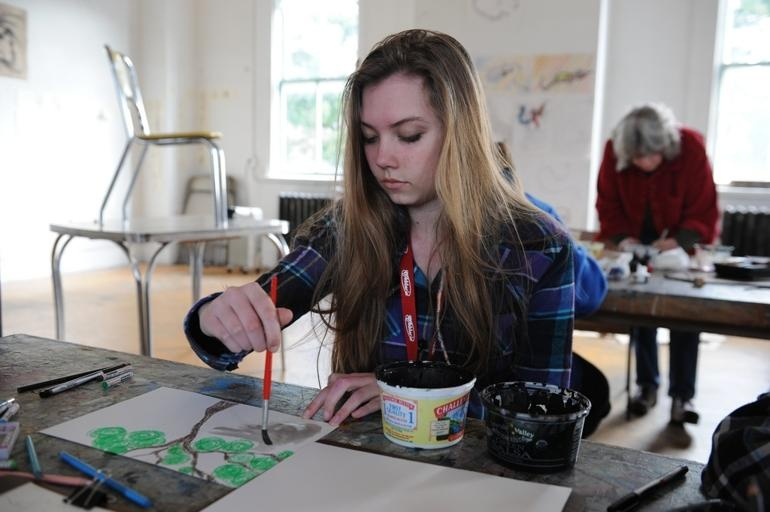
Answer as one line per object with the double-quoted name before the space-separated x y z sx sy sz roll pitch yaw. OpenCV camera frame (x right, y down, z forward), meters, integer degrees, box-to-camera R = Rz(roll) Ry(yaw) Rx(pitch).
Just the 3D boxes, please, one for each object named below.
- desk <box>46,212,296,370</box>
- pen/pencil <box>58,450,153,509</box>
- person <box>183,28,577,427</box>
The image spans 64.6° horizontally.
"desk" -1.184 0.162 3.088 0.728 0.708 0.982 7 10 32
"pen/pencil" -0.522 0.416 1.132 0.153 0.020 0.018 20 35 20
"person" 0.023 0.158 1.679 0.944 1.405 0.664 -4 14 0
